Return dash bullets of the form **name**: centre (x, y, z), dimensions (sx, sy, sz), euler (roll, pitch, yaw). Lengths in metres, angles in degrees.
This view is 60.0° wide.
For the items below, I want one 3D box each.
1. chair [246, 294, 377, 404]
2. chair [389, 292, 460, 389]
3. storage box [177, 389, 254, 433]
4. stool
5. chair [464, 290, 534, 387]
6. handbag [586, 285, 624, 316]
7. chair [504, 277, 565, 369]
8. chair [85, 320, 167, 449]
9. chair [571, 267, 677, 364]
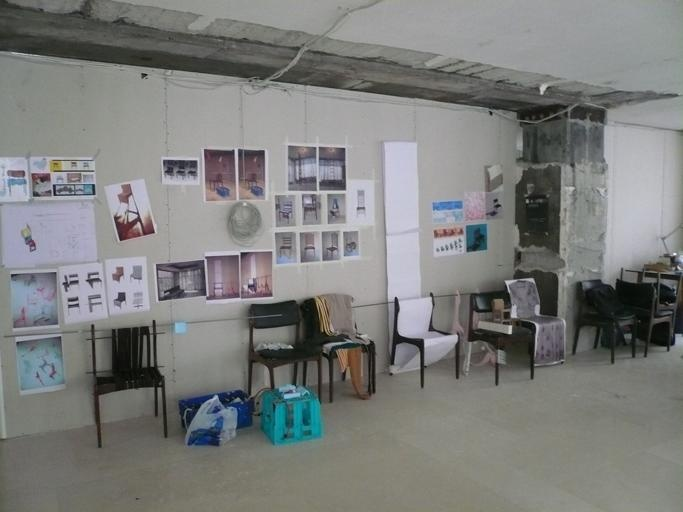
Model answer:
- **chair**: centre (-0.337, 0.997, 6.251), dimensions (1.337, 1.066, 0.615), euler (-5, 5, -21)
- **chair**: centre (0.944, 0.935, 6.825), dimensions (0.717, 0.938, 0.698), euler (-6, 6, -28)
- **storage box**: centre (-1.208, 1.508, 5.768), dimensions (0.703, 0.300, 0.486), euler (-5, 5, -23)
- **stool**: centre (-0.466, 1.545, 5.635), dimensions (0.526, 0.356, 0.538), euler (0, -9, -28)
- **chair**: centre (1.830, 0.921, 7.021), dimensions (0.837, 0.940, 1.003), euler (-4, 5, -7)
- **handbag**: centre (3.384, 0.467, 7.680), dimensions (0.366, 0.174, 0.400), euler (-13, -11, 7)
- **chair**: centre (2.376, 0.794, 7.298), dimensions (0.502, 0.973, 0.576), euler (-4, 5, -23)
- **chair**: centre (-2.014, 1.158, 5.593), dimensions (0.675, 1.076, 0.612), euler (-5, 5, -25)
- **chair**: centre (3.599, 0.706, 7.867), dimensions (1.271, 1.227, 0.910), euler (-7, 9, -41)
